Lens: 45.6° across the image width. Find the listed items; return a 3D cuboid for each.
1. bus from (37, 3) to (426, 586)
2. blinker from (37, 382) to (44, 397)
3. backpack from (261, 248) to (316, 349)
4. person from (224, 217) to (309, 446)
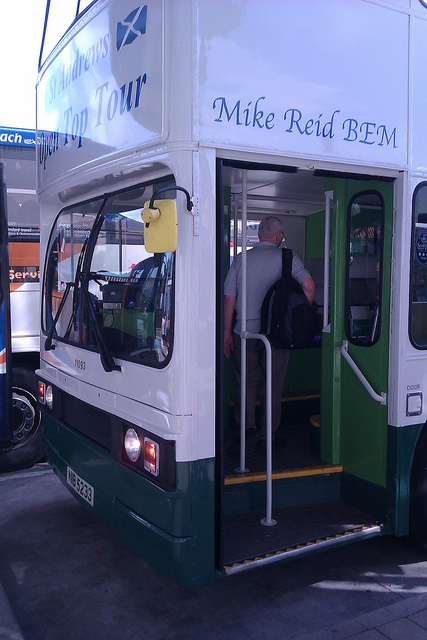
[{"bbox_3d":[0.209,-0.360,3.650,2.701,3.700,1.978,-6,8,-37],"label":"bus"},{"bbox_3d":[-1.290,0.524,3.803,0.018,0.104,0.079,0,10,-32],"label":"blinker"},{"bbox_3d":[0.495,-0.110,3.475,0.213,0.764,0.297,8,-11,-28],"label":"backpack"},{"bbox_3d":[0.362,0.128,3.791,0.427,1.725,0.321,4,20,16],"label":"person"}]
